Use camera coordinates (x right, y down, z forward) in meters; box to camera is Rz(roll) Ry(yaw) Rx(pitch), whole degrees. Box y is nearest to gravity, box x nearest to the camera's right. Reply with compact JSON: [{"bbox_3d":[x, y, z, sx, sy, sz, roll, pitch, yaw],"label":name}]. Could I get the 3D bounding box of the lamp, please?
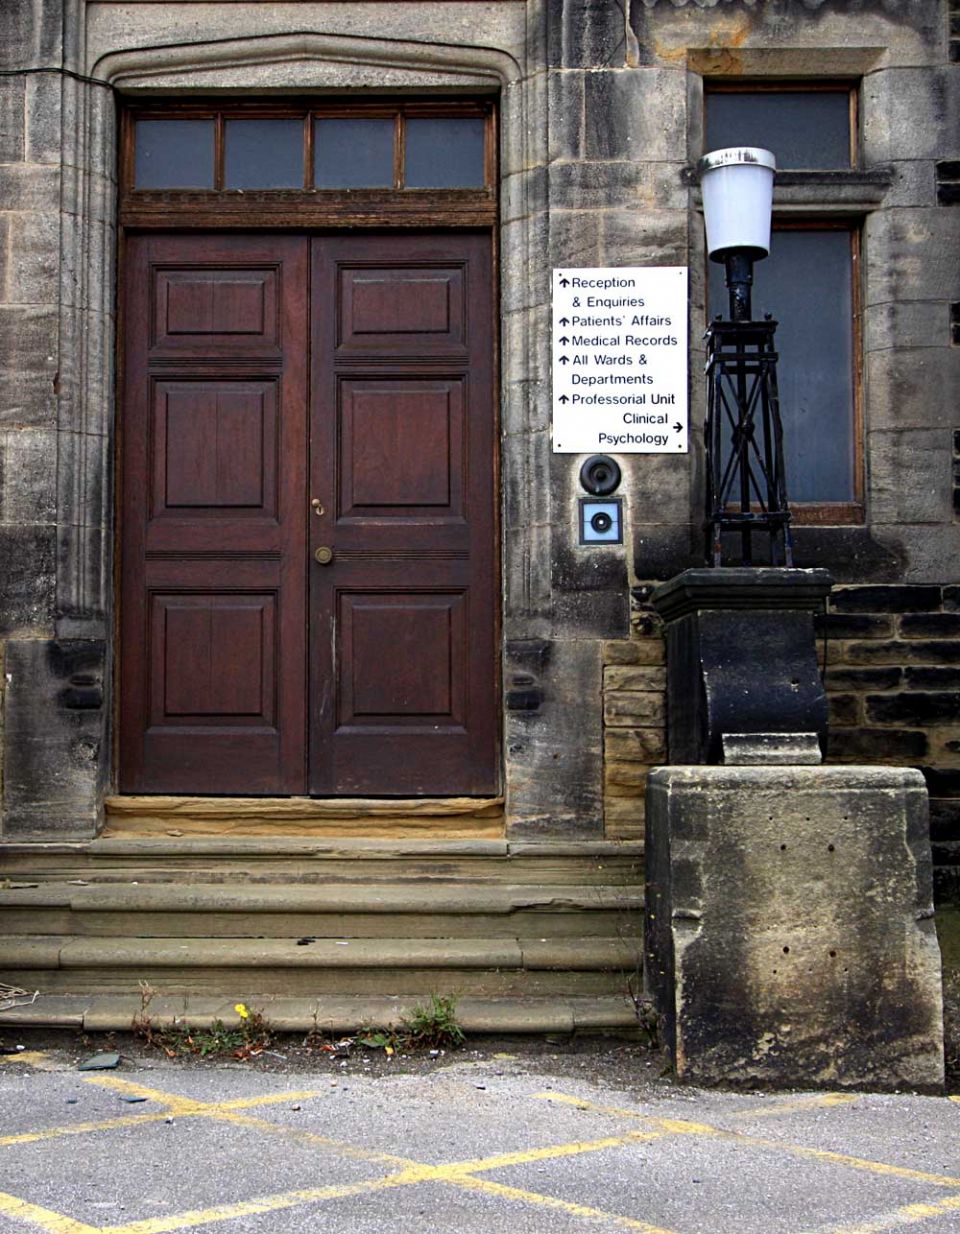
[{"bbox_3d":[0.917,-0.880,8.802,0.359,1.464,0.980,1,9,5],"label":"lamp"}]
